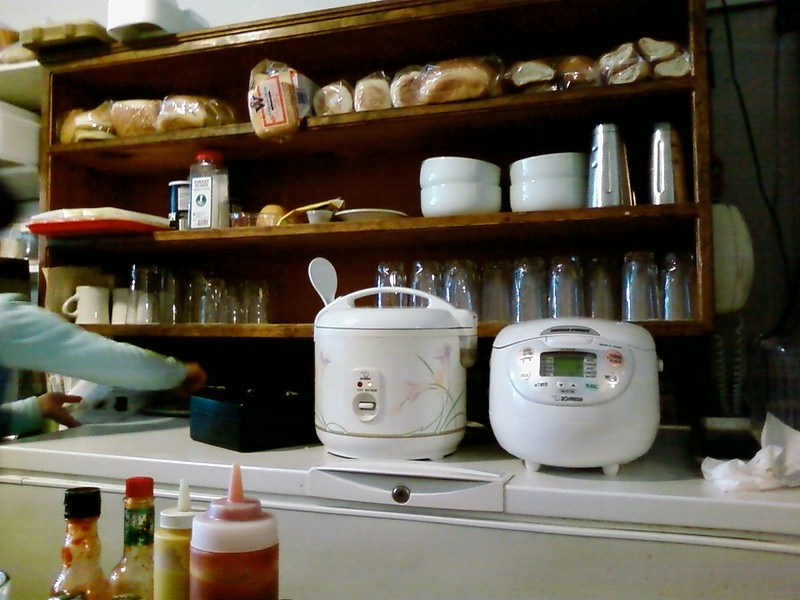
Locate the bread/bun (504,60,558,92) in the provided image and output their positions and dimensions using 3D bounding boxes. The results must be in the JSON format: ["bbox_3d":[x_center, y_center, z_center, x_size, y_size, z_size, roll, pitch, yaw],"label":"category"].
[{"bbox_3d":[0.350,-0.607,2.101,0.133,0.074,0.032,0,-7,11],"label":"bread/bun"}]

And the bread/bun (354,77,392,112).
[{"bbox_3d":[-0.077,-0.579,2.235,0.107,0.103,0.032,-1,0,9],"label":"bread/bun"}]

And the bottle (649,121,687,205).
[{"bbox_3d":[0.699,-0.356,2.062,0.088,0.224,0.055,0,-17,15],"label":"bottle"}]

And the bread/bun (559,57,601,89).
[{"bbox_3d":[0.481,-0.609,2.112,0.103,0.082,0.051,-5,19,29],"label":"bread/bun"}]

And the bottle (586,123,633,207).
[{"bbox_3d":[0.553,-0.348,2.083,0.110,0.234,0.093,1,-16,11],"label":"bottle"}]

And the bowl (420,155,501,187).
[{"bbox_3d":[0.157,-0.345,2.160,0.140,0.046,0.115,1,0,-6],"label":"bowl"}]

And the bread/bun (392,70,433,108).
[{"bbox_3d":[0.034,-0.593,2.244,0.131,0.101,0.043,-4,9,26],"label":"bread/bun"}]

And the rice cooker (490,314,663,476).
[{"bbox_3d":[0.420,0.232,1.975,0.472,0.319,0.389,-1,-8,13],"label":"rice cooker"}]

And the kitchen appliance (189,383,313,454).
[{"bbox_3d":[-0.411,0.312,2.093,0.204,0.092,0.243,1,-1,14],"label":"kitchen appliance"}]
